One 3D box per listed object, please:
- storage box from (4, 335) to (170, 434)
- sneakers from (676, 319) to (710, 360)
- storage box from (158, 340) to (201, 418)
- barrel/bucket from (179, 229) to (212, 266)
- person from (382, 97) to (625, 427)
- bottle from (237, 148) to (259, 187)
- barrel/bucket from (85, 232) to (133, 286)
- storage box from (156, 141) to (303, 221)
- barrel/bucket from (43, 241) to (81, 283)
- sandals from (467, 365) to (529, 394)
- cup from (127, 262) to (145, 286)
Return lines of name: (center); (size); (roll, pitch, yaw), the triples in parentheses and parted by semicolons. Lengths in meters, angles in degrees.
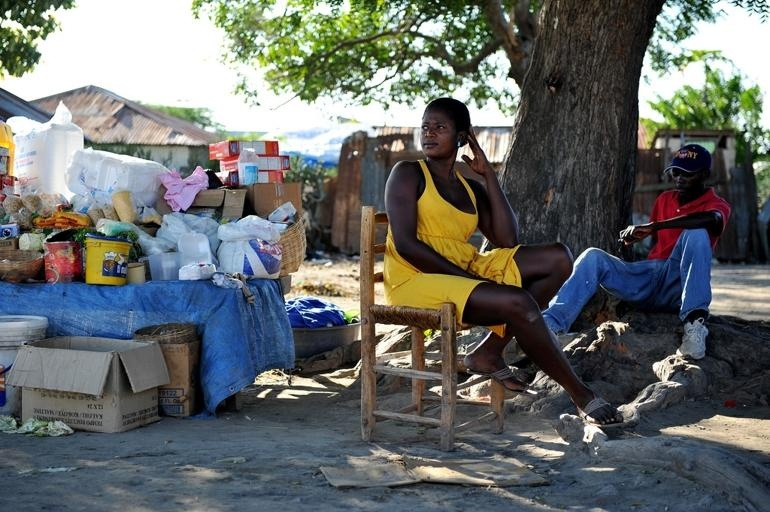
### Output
storage box: (-2.350, 1.034, 6.976); (1.192, 0.608, 0.426); (2, -1, -17)
sneakers: (2.619, 0.692, 7.352); (0.283, 0.344, 0.162); (2, -1, -20)
storage box: (-1.742, 1.020, 7.363); (0.433, 0.544, 0.423); (3, -3, -30)
barrel/bucket: (-1.651, -0.060, 7.606); (0.313, 0.226, 0.134); (2, -1, -8)
person: (0.755, -0.016, 6.749); (1.534, 2.409, 0.715); (2, -1, -1)
bottle: (-1.316, -0.842, 8.366); (0.268, 0.316, 0.258); (-2, 8, -12)
barrel/bucket: (-2.417, 0.043, 7.467); (0.498, 0.390, 0.504); (3, -8, 0)
storage box: (-1.243, -0.745, 8.390); (0.841, 0.541, 0.664); (2, -2, -11)
barrel/bucket: (-2.755, 0.053, 7.509); (0.331, 0.350, 0.333); (-1, 4, 0)
sandals: (0.894, 0.949, 6.831); (0.500, 0.138, 0.193); (13, 12, 28)
cup: (-2.115, 0.148, 7.427); (0.174, 0.165, 0.171); (0, 7, 0)
